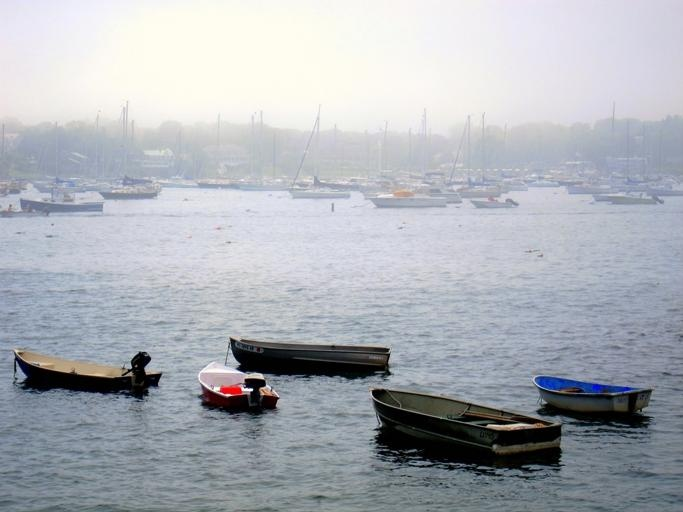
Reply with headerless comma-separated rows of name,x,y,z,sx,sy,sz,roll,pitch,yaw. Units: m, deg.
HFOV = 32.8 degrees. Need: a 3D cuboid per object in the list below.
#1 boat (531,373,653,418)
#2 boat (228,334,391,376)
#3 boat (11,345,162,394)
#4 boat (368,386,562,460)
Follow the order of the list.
boat,16.616,9.402,77.576,8.792,2.184,6.849,-2,3,26
boat,-2.392,7.236,84.511,12.308,2.315,3.138,0,3,9
boat,-17.912,9.004,82.060,11.991,3.206,3.620,6,-1,11
boat,7.221,10.983,75.551,11.694,2.096,6.187,8,5,33
